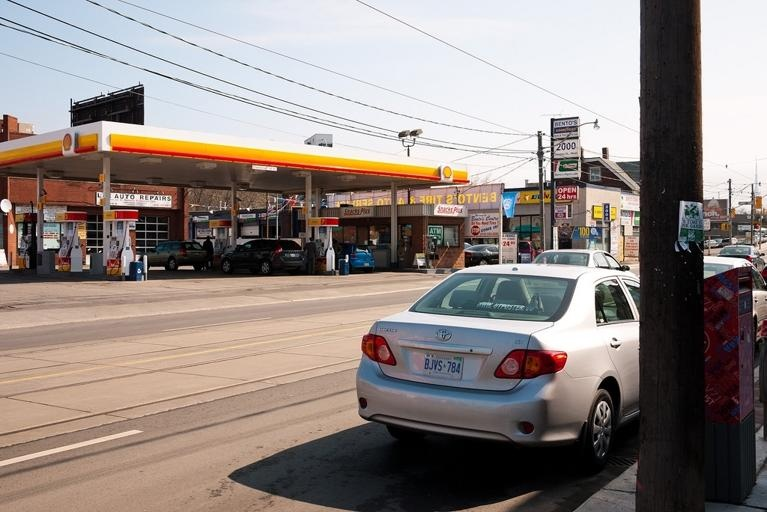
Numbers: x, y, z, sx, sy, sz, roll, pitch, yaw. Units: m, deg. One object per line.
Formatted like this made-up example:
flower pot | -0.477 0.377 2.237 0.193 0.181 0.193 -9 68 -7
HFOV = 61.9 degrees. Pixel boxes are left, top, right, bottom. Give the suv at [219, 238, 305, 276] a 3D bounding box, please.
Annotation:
suv | -7.107 0.038 37.822 4.784 1.603 2.186 3 3 36

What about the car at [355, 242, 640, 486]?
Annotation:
car | 1.437 1.180 6.913 3.114 2.064 1.656 -1 2 -26

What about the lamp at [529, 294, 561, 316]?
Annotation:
lamp | 1.756 0.533 6.885 0.252 0.056 0.232 9 33 35

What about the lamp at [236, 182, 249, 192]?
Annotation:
lamp | -10.808 -5.300 48.720 0.642 0.361 0.614 5 12 35

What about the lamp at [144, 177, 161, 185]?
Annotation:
lamp | -16.147 -5.226 44.625 0.722 0.210 0.655 1 -3 -38

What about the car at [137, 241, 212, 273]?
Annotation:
car | -13.607 -0.012 41.974 3.453 1.905 1.617 0 2 0

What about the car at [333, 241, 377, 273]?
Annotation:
car | -2.298 0.128 40.065 2.928 1.265 1.436 -2 2 18

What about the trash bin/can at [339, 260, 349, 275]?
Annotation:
trash bin/can | -2.331 0.651 37.519 0.532 0.881 0.789 0 2 -8

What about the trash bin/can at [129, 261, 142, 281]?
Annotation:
trash bin/can | -12.159 0.726 31.152 0.592 0.903 0.356 -1 2 -21
